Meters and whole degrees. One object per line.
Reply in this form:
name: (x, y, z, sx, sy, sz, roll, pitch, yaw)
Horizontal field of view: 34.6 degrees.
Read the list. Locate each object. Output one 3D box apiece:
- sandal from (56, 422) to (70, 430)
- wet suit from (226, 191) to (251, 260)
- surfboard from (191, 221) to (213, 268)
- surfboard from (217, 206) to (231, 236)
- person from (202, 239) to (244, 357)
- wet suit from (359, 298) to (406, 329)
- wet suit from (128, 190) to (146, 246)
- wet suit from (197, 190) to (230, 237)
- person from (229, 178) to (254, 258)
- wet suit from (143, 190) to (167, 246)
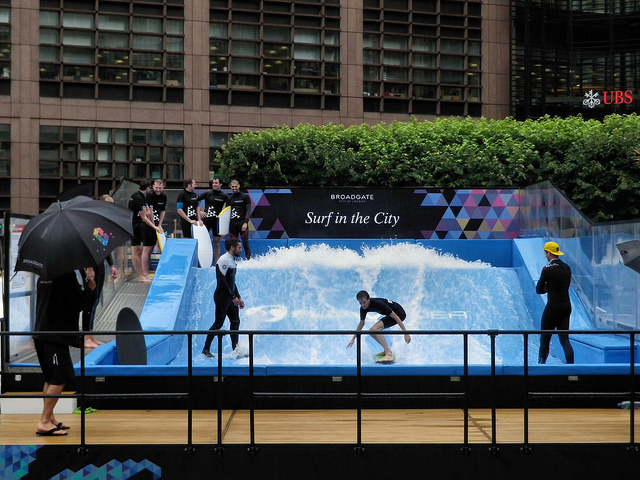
sandal: (-6.455, 4.682, 25.660, 0.339, 0.136, 0.116, 7, -5, -24)
wet suit: (-2.671, -0.471, 32.889, 0.778, 2.777, 0.759, 1, 21, 1)
surfboard: (-3.849, 0.202, 33.046, 0.306, 1.405, 0.603, -20, -19, 40)
surfboard: (-3.154, -0.640, 33.145, 0.753, 0.824, 0.103, -25, 50, -40)
person: (-2.612, 1.286, 28.451, 0.837, 2.565, 0.518, -2, 4, -9)
wet suit: (1.699, 2.027, 27.972, 1.186, 0.875, 0.371, -1, 4, 2)
wet suit: (-5.629, -0.630, 31.488, 0.504, 1.692, 0.848, -2, 4, -11)
wet suit: (-3.513, -0.720, 33.446, 1.170, 2.065, 0.468, 4, 13, -14)
person: (-2.600, -0.620, 32.901, 0.639, 2.563, 1.172, -2, 4, -5)
wet suit: (-5.208, -0.660, 31.752, 0.570, 1.714, 0.933, -1, 5, 10)
